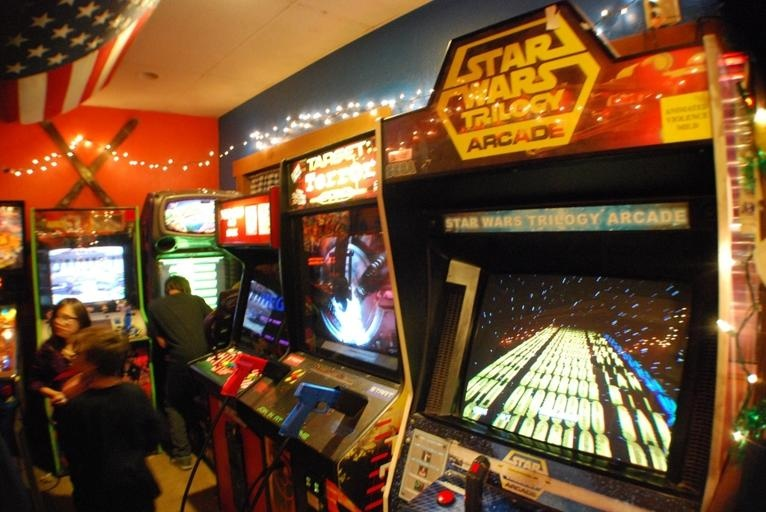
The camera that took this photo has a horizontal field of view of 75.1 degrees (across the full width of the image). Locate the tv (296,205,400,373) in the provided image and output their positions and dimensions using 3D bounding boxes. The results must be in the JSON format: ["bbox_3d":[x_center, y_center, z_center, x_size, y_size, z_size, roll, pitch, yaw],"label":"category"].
[{"bbox_3d":[-0.160,0.162,2.506,0.088,0.887,0.863,-7,3,-38],"label":"tv"}]

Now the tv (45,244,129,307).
[{"bbox_3d":[-2.460,0.162,4.100,0.527,0.465,0.185,-1,-2,-39],"label":"tv"}]
